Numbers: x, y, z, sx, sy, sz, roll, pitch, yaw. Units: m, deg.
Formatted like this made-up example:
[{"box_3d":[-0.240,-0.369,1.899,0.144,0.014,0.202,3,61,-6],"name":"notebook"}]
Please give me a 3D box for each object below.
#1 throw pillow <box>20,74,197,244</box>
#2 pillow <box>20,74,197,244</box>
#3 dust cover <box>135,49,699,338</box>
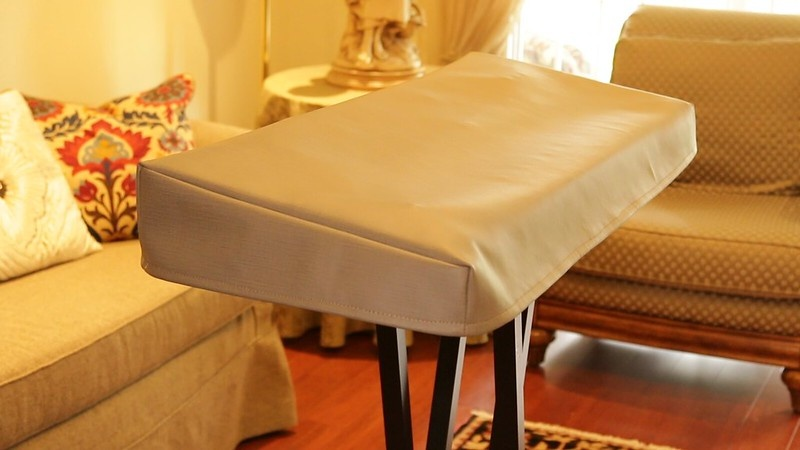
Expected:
[{"box_3d":[-1.065,-0.222,2.552,0.705,0.615,0.253,-5,23,4],"name":"throw pillow"},{"box_3d":[-1.029,-0.213,2.541,0.717,0.628,0.258,-5,22,16],"name":"pillow"},{"box_3d":[0.074,-0.223,1.643,0.984,0.313,1.244,9,31,17],"name":"dust cover"}]
